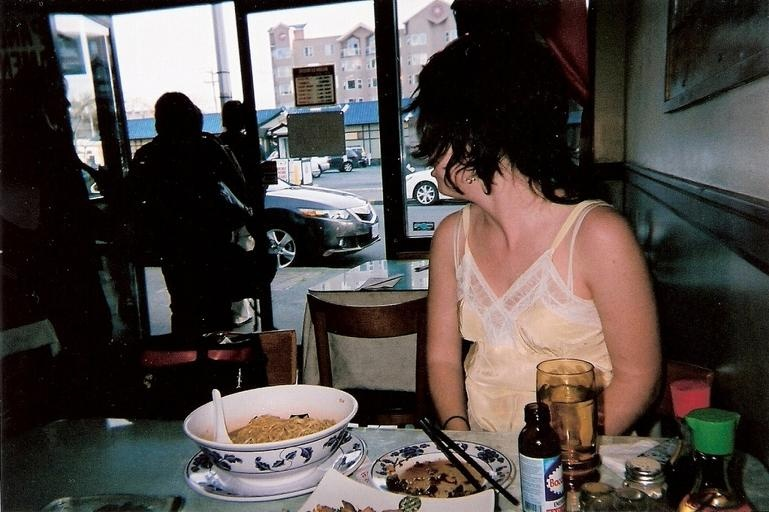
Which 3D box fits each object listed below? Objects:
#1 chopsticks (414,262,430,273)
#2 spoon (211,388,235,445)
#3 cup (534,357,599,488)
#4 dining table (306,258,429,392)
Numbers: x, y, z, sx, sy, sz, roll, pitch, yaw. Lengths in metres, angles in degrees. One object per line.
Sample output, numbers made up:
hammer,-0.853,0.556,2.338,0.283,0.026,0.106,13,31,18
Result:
chopsticks,0.197,0.056,3.347,0.028,0.029,0.124,-14,-9,22
spoon,-0.381,0.384,1.516,0.035,0.167,0.029,-7,-32,-14
cup,0.429,0.369,1.509,0.139,0.292,0.137,-2,1,0
dining table,-0.045,0.320,3.039,0.528,0.562,0.826,3,15,14
